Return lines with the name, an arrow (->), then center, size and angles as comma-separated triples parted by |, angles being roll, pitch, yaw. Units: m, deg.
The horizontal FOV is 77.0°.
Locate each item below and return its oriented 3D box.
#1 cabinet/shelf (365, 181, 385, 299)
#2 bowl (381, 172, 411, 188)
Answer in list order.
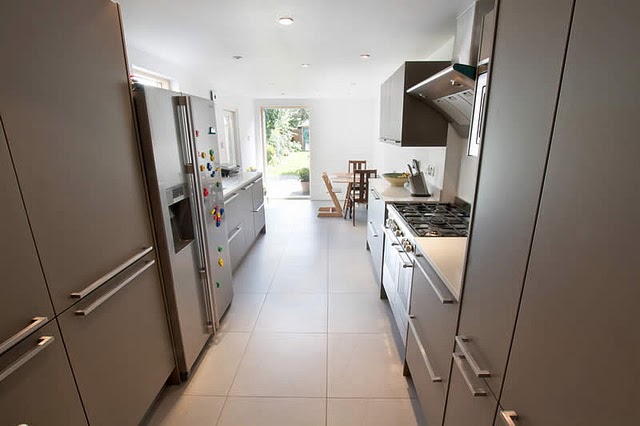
cabinet/shelf -> 0.605, 0.317, 4.394 | 0.229, 0.607, 1.146 | 2, 19, 4
bowl -> 0.901, -0.399, 4.754 | 0.269, 0.142, 0.421 | -2, 11, 2
